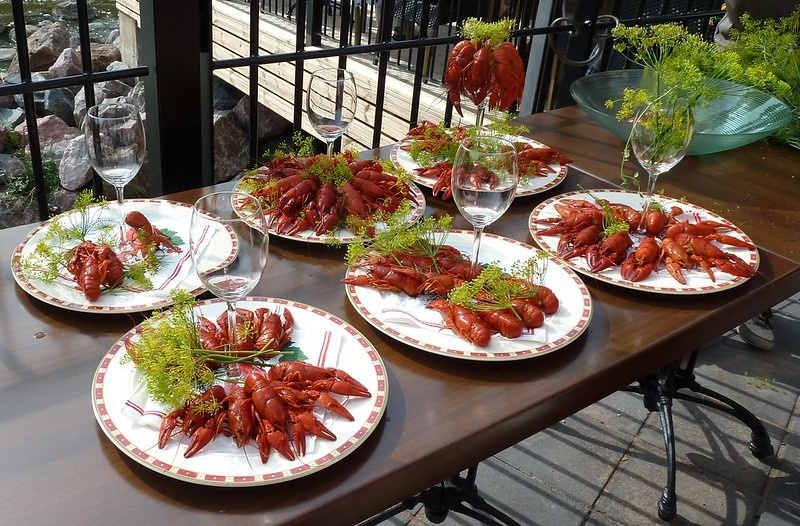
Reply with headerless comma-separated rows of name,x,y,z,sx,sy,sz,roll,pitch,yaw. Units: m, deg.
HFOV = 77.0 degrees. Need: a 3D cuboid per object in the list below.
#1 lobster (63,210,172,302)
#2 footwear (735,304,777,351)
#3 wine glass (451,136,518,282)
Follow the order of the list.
lobster,-0.584,-0.016,1.049,0.172,0.052,0.186,8,40,1
footwear,1.828,0.363,2.619,0.169,0.052,0.222,22,44,29
wine glass,0.173,-0.083,1.110,0.144,0.388,0.143,8,30,13
